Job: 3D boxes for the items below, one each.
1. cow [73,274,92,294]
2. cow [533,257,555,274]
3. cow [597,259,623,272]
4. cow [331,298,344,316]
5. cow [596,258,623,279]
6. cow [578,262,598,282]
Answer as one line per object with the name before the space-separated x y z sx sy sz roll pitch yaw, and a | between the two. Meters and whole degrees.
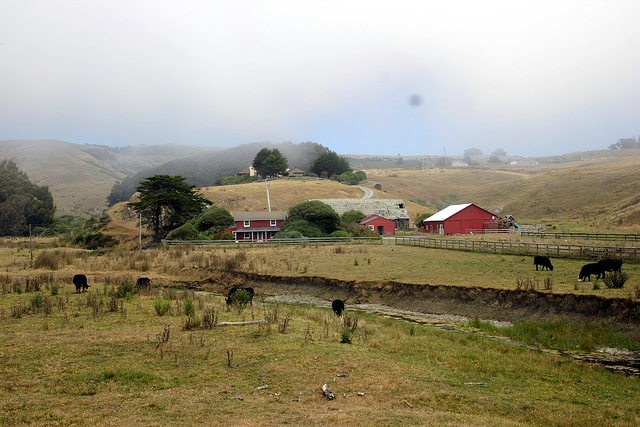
cow | -18.430 5.355 47.338 0.944 1.287 1.863 -3 4 -13
cow | 18.304 4.105 49.943 1.318 1.047 2.340 -3 4 -8
cow | 21.700 3.937 45.391 1.704 1.001 1.345 -5 5 -34
cow | 1.296 6.850 44.269 0.746 1.015 1.489 -2 4 -1
cow | 21.326 4.190 45.392 2.029 1.481 1.980 -6 5 -40
cow | 19.893 4.342 45.601 1.459 1.270 0.883 -4 5 -24
